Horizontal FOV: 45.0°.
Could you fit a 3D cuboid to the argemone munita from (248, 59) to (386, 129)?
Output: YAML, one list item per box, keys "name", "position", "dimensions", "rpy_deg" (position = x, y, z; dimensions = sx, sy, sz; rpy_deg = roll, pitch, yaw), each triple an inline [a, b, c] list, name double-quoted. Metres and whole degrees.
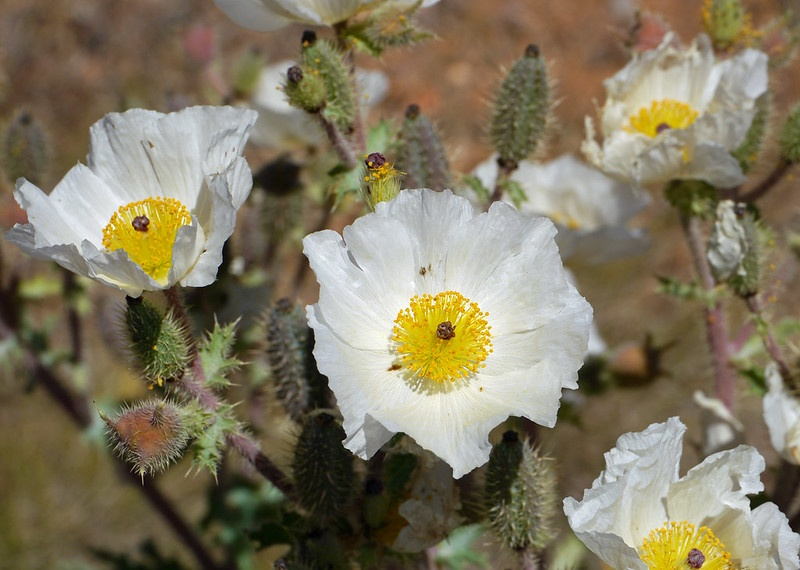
- name: "argemone munita"
  position: [-0.541, -1.155, 5.597]
  dimensions: [0.859, 0.801, 0.346]
  rpy_deg: [-6, 90, 6]

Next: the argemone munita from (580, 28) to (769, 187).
- name: "argemone munita"
  position: [1.150, -0.726, 4.104]
  dimensions: [0.607, 0.368, 0.819]
  rpy_deg: [4, 60, 26]

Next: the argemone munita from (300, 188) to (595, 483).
- name: "argemone munita"
  position: [0.190, 0.237, 3.889]
  dimensions: [0.943, 0.425, 1.119]
  rpy_deg: [-15, 60, 0]

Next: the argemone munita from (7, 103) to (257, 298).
- name: "argemone munita"
  position: [-1.063, -0.359, 3.984]
  dimensions: [0.868, 0.777, 0.450]
  rpy_deg: [-33, 112, -30]
